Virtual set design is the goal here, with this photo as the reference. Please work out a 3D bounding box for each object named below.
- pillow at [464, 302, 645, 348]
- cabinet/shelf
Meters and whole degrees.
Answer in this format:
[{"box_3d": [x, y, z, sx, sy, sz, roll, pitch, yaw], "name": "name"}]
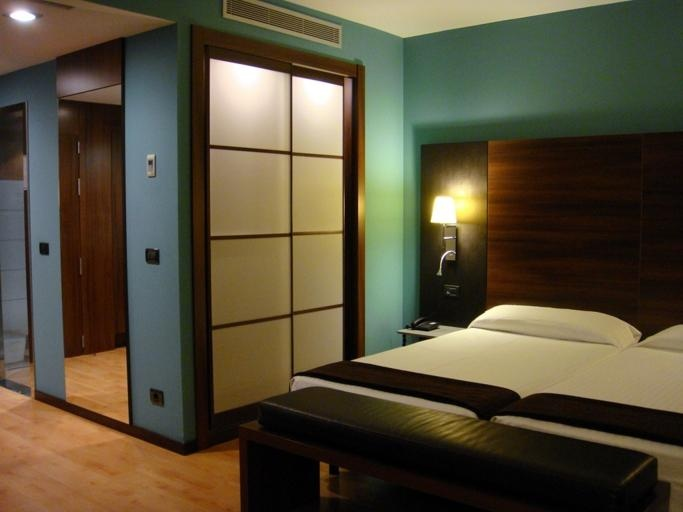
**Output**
[{"box_3d": [1.594, 0.509, 3.983, 0.738, 0.128, 0.443, 3, 9, 31], "name": "pillow"}, {"box_3d": [-2.056, -0.199, 4.587, 0.490, 2.151, 0.677, 0, 7, 11], "name": "cabinet/shelf"}]
